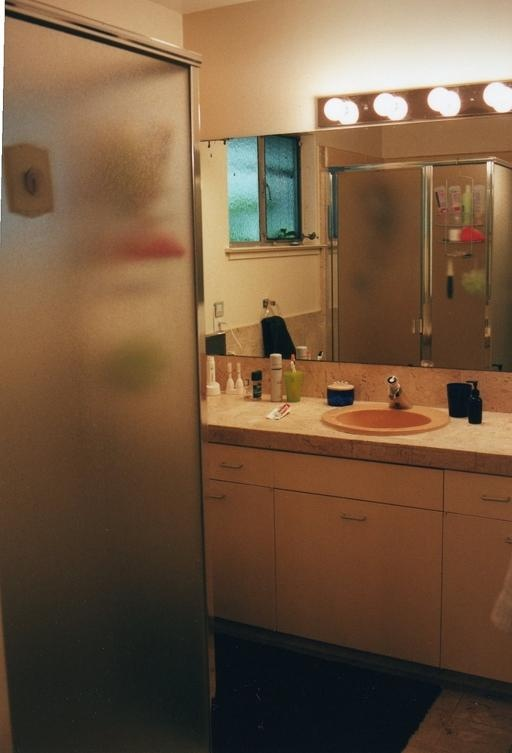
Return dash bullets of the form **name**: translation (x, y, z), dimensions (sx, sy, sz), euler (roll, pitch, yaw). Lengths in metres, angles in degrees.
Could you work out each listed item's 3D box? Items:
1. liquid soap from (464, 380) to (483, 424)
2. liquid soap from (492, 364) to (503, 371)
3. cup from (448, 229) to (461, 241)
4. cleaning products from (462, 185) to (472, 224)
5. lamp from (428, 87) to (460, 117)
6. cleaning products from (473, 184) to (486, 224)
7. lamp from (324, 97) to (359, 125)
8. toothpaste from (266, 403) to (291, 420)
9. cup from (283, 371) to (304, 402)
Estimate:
- **liquid soap**: translation (0.810, 0.086, 2.325), dimensions (0.050, 0.144, 0.207), euler (0, 5, 18)
- **liquid soap**: translation (0.913, -0.038, 2.365), dimensions (0.025, 0.026, 0.007), euler (3, 2, 38)
- **cup**: translation (0.764, -0.543, 2.402), dimensions (0.039, 0.042, 0.041), euler (1, 4, 0)
- **cleaning products**: translation (0.798, -0.648, 2.361), dimensions (0.036, 0.151, 0.009), euler (1, 5, 31)
- **lamp**: translation (0.703, -1.022, 2.356), dimensions (0.134, 0.100, 0.033), euler (29, 27, 23)
- **cleaning products**: translation (0.835, -0.642, 2.342), dimensions (0.044, 0.153, 0.012), euler (0, 5, 20)
- **lamp**: translation (0.348, -1.074, 2.549), dimensions (0.155, 0.113, 0.032), euler (2, 6, 39)
- **toothpaste**: translation (0.091, 0.135, 2.484), dimensions (0.043, 0.024, 0.095), euler (-1, 17, 20)
- **cup**: translation (0.159, 0.038, 2.676), dimensions (0.103, 0.162, 0.113), euler (2, 3, 6)
